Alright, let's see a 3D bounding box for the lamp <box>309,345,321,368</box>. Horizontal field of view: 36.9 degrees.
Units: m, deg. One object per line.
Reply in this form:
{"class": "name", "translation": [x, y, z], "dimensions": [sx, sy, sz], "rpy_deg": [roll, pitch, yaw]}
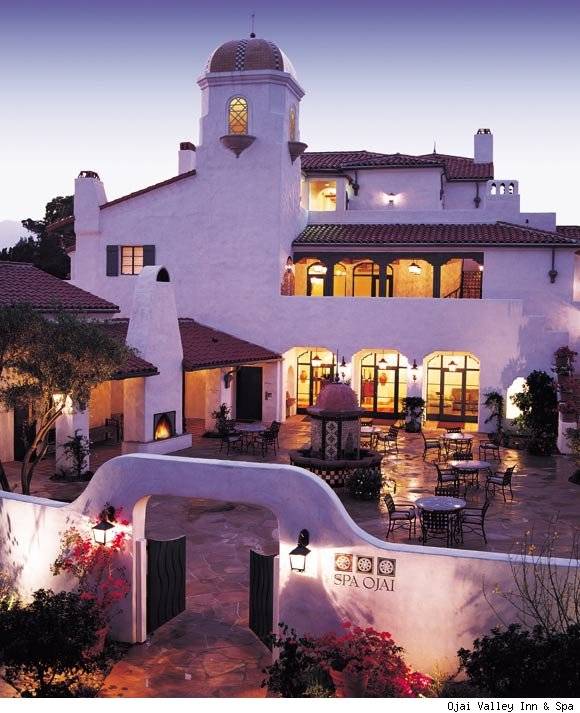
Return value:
{"class": "lamp", "translation": [0.906, 0.032, 30.771], "dimensions": [0.460, 0.732, 0.481], "rpy_deg": [-2, 4, -17]}

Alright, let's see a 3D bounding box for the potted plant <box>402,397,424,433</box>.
{"class": "potted plant", "translation": [3.984, 1.829, 27.799], "dimensions": [0.882, 1.446, 0.909], "rpy_deg": [0, -2, -3]}

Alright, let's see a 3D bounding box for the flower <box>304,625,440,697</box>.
{"class": "flower", "translation": [0.925, 3.389, 9.684], "dimensions": [0.994, 0.614, 0.811], "rpy_deg": [1, 17, -7]}

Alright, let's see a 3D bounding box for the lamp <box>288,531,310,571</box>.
{"class": "lamp", "translation": [0.128, 2.403, 10.623], "dimensions": [0.257, 0.578, 0.381], "rpy_deg": [-1, 5, 1]}

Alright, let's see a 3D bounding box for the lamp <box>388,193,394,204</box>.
{"class": "lamp", "translation": [3.926, -6.078, 33.472], "dimensions": [0.280, 0.498, 0.316], "rpy_deg": [0, 0, 2]}

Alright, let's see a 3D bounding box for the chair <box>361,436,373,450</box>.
{"class": "chair", "translation": [2.118, 2.333, 23.755], "dimensions": [0.341, 0.640, 0.380], "rpy_deg": [-1, -6, 6]}

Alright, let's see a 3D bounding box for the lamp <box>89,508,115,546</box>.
{"class": "lamp", "translation": [-2.499, 2.232, 11.490], "dimensions": [0.357, 0.490, 0.246], "rpy_deg": [2, 6, 33]}

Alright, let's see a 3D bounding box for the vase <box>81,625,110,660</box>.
{"class": "vase", "translation": [-2.384, 3.502, 10.752], "dimensions": [0.212, 0.375, 0.922], "rpy_deg": [-1, 5, -6]}
